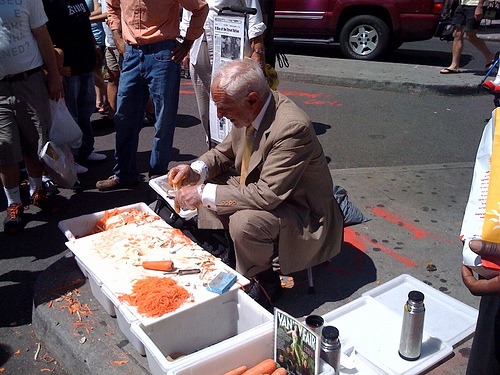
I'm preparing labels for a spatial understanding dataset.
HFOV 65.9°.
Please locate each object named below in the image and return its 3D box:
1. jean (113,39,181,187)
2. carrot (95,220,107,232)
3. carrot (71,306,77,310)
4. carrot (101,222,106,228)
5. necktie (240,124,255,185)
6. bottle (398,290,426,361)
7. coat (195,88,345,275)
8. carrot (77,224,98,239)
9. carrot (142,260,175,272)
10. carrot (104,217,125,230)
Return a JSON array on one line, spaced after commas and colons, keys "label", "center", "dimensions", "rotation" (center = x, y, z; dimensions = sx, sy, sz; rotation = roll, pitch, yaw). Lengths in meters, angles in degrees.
[{"label": "jean", "center": [-1.190, -0.800, 4.406], "dimensions": [0.803, 1.698, 0.522], "rotation": [8, 29, 13]}, {"label": "carrot", "center": [-1.244, 0.318, 3.213], "dimensions": [0.083, 0.021, 0.088], "rotation": [-3, 69, 20]}, {"label": "carrot", "center": [-1.279, 0.872, 2.790], "dimensions": [0.049, 0.007, 0.023], "rotation": [7, 31, 10]}, {"label": "carrot", "center": [-1.219, 0.308, 3.200], "dimensions": [0.040, 0.033, 0.042], "rotation": [-1, -4, -10]}, {"label": "necktie", "center": [-0.014, -0.259, 3.089], "dimensions": [0.066, 0.515, 0.064], "rotation": [-6, 46, -15]}, {"label": "bottle", "center": [1.022, 0.877, 2.439], "dimensions": [0.131, 0.459, 0.130], "rotation": [-4, 20, 1]}, {"label": "coat", "center": [0.273, -0.004, 2.902], "dimensions": [0.880, 1.159, 0.638], "rotation": [12, 30, 20]}, {"label": "carrot", "center": [-1.338, 0.362, 3.140], "dimensions": [0.121, 0.027, 0.042], "rotation": [-38, 44, -20]}, {"label": "carrot", "center": [-0.615, 0.525, 2.640], "dimensions": [0.231, 0.093, 0.083], "rotation": [3, -3, 6]}, {"label": "carrot", "center": [-1.102, 0.291, 3.133], "dimensions": [0.093, 0.026, 0.102], "rotation": [-34, 12, 19]}]
